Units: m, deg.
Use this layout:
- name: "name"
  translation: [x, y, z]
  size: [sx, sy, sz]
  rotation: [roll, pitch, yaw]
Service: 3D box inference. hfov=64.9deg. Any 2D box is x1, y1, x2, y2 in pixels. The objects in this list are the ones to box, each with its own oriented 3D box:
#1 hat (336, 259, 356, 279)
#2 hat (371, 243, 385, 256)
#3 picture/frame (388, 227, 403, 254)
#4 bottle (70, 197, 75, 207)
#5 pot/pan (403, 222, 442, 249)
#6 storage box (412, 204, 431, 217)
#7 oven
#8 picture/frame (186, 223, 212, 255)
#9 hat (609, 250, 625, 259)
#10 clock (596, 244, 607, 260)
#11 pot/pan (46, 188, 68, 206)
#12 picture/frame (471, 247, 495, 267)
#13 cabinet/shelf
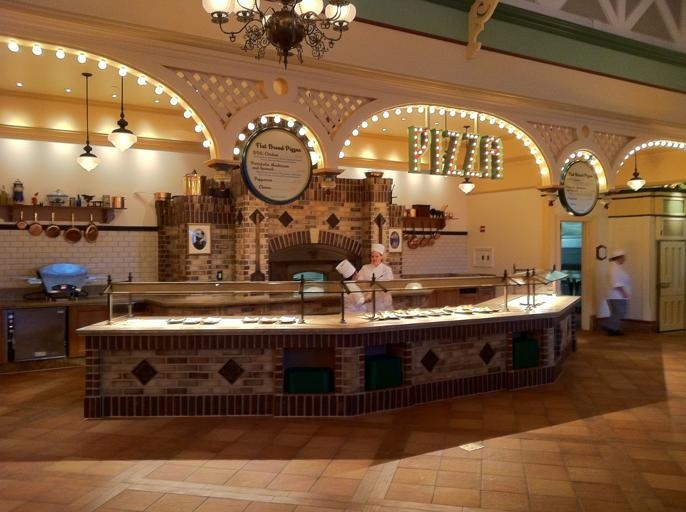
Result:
- name: "hat"
  translation: [0.025, 0.225, 8.930]
  size: [0.264, 0.251, 0.250]
  rotation: [-37, 16, 35]
- name: "hat"
  translation: [0.600, -0.110, 9.171]
  size: [0.217, 0.127, 0.225]
  rotation: [2, -6, 1]
- name: "picture/frame"
  translation: [1.033, -0.312, 10.850]
  size: [0.030, 0.508, 0.591]
  rotation: [-4, -5, 40]
- name: "bottle"
  translation: [-5.018, -1.007, 10.026]
  size: [0.112, 0.176, 0.173]
  rotation: [-3, 6, -31]
- name: "pot/pan"
  translation: [1.909, -0.526, 13.352]
  size: [0.823, 0.440, 0.086]
  rotation: [0, -1, -23]
- name: "storage box"
  translation: [1.938, -1.084, 13.087]
  size: [0.433, 0.340, 0.307]
  rotation: [0, -1, -21]
- name: "oven"
  translation: [-5.110, 1.208, 9.138]
  size: [1.209, 1.007, 0.858]
  rotation: [2, -4, -37]
- name: "picture/frame"
  translation: [-2.516, -0.286, 9.416]
  size: [0.368, 0.524, 0.087]
  rotation: [-2, 6, -27]
- name: "hat"
  translation: [5.884, -0.011, 11.597]
  size: [0.211, 0.173, 0.325]
  rotation: [2, 5, 19]
- name: "clock"
  translation: [6.123, -0.093, 12.839]
  size: [0.436, 0.403, 0.034]
  rotation: [-3, 1, -37]
- name: "pot/pan"
  translation: [-5.247, -1.076, 9.932]
  size: [0.372, 0.261, 0.332]
  rotation: [0, -4, -6]
- name: "picture/frame"
  translation: [3.624, 0.024, 13.895]
  size: [0.080, 0.445, 0.597]
  rotation: [-2, 1, -36]
- name: "cabinet/shelf"
  translation: [-0.228, 1.075, 7.091]
  size: [5.869, 1.663, 1.409]
  rotation: [0, 5, -5]
